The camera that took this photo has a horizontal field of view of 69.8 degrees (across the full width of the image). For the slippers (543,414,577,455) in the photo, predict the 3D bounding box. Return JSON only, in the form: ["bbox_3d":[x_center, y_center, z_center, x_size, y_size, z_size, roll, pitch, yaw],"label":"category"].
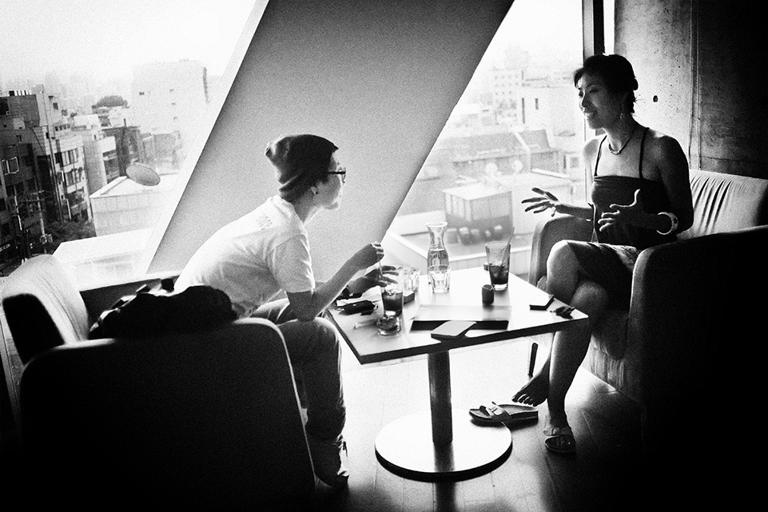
[{"bbox_3d":[0.890,0.931,2.805,0.096,0.099,0.228,-2,-4,5],"label":"slippers"}]

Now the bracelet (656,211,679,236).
[{"bbox_3d":[1.491,-0.171,2.936,0.078,0.118,0.115,-8,27,-37],"label":"bracelet"}]

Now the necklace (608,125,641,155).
[{"bbox_3d":[1.393,-0.674,3.221,0.112,0.149,0.036,23,42,15],"label":"necklace"}]

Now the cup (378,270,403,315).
[{"bbox_3d":[0.026,0.181,2.666,0.123,0.199,0.124,-2,26,1],"label":"cup"}]

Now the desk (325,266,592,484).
[{"bbox_3d":[0.294,0.644,2.862,1.148,0.703,1.219,-2,4,33],"label":"desk"}]

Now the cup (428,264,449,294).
[{"bbox_3d":[0.279,0.123,2.806,0.124,0.142,0.126,-14,-3,-1],"label":"cup"}]

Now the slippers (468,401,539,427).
[{"bbox_3d":[0.651,0.869,3.034,0.282,0.085,0.151,1,6,-5],"label":"slippers"}]

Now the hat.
[{"bbox_3d":[-0.385,-0.460,2.861,0.401,0.324,0.295,-7,-6,18],"label":"hat"}]

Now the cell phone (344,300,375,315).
[{"bbox_3d":[-0.121,0.252,2.695,0.098,0.031,0.072,-7,13,-8],"label":"cell phone"}]
